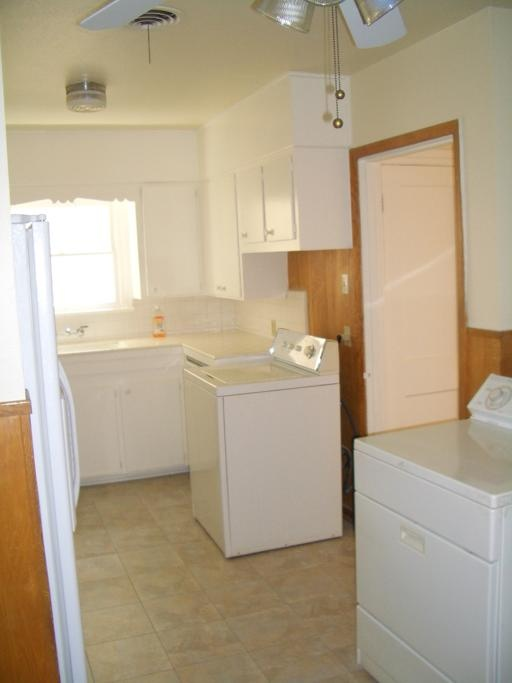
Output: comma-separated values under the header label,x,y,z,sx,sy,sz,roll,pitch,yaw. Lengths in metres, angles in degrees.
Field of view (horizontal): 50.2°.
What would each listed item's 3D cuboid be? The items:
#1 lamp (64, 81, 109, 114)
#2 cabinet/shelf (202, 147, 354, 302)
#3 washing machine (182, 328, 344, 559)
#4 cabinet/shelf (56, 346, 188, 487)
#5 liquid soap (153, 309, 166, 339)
label,x,y,z,sx,sy,sz,roll,pitch,yaw
lamp,-0.896,-1.288,2.866,0.151,0.093,0.157,-1,9,-13
cabinet/shelf,0.085,-0.732,3.476,0.356,0.898,1.287,-5,5,-26
washing machine,0.013,0.514,3.195,0.797,1.092,0.883,-4,5,-17
cabinet/shelf,-0.898,0.432,4.289,1.248,1.297,0.814,-3,3,-20
liquid soap,-0.809,-0.153,4.516,0.102,0.225,0.222,-3,5,-11
